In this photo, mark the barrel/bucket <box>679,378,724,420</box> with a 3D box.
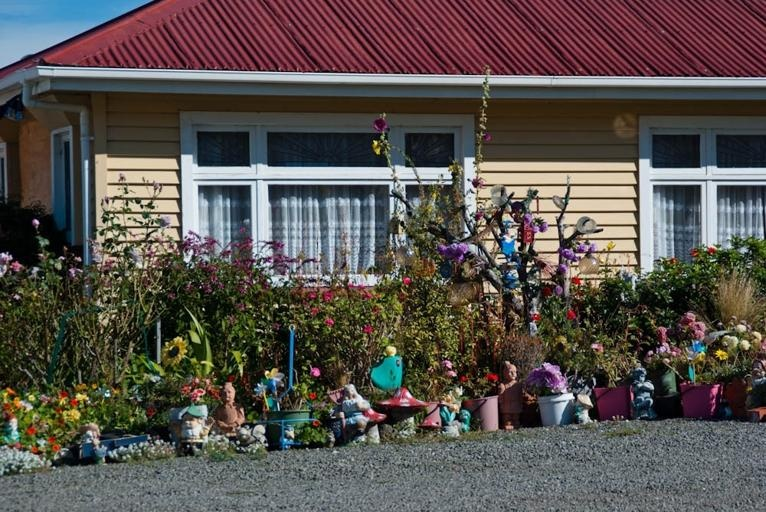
[{"bbox_3d":[3.607,1.632,16.952,0.415,0.366,0.363,0,-7,12],"label":"barrel/bucket"}]

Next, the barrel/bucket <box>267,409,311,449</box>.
[{"bbox_3d":[-1.032,1.877,16.383,0.397,0.329,0.431,1,-5,0],"label":"barrel/bucket"}]

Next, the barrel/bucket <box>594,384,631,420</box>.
[{"bbox_3d":[2.611,1.644,17.171,0.492,0.548,0.320,-3,-4,5],"label":"barrel/bucket"}]

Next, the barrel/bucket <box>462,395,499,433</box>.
[{"bbox_3d":[1.166,1.799,17.115,0.348,0.310,0.356,-9,-11,-2],"label":"barrel/bucket"}]

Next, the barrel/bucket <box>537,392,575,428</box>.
[{"bbox_3d":[1.989,1.751,16.994,0.351,0.296,0.346,-1,-6,0],"label":"barrel/bucket"}]

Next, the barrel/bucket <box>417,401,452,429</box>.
[{"bbox_3d":[0.587,1.782,16.796,0.241,0.301,0.263,1,-1,0],"label":"barrel/bucket"}]
